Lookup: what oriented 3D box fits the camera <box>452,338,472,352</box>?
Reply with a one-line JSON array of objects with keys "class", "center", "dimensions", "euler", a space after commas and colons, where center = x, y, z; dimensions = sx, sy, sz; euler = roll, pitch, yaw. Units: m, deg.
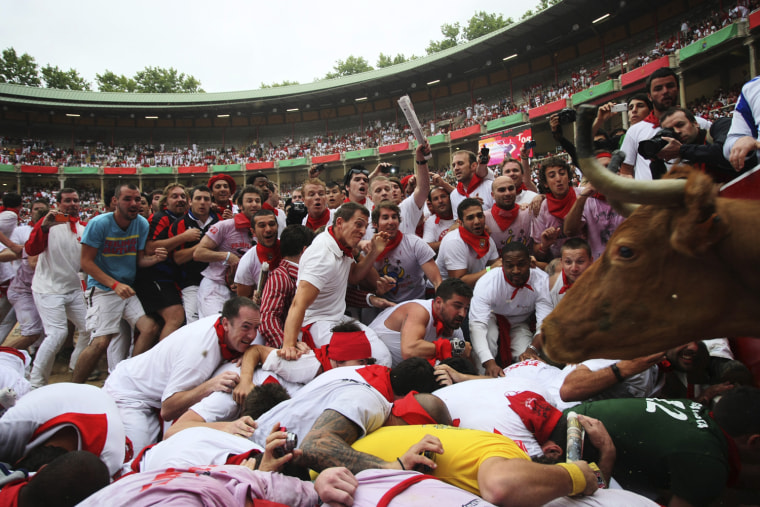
[{"class": "camera", "center": [1.095, 1.273, 8.446], "dimensions": [0.208, 0.093, 0.223], "euler": [-3, -5, 42]}]

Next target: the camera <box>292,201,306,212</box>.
[{"class": "camera", "center": [-1.409, -0.788, 10.674], "dimensions": [0.239, 0.069, 0.242], "euler": [14, 13, -16]}]

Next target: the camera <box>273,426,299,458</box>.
[{"class": "camera", "center": [-0.968, 1.912, 6.349], "dimensions": [0.296, 0.228, 0.186], "euler": [-19, 2, 42]}]

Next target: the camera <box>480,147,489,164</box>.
[{"class": "camera", "center": [1.807, -1.681, 10.657], "dimensions": [0.160, 0.062, 0.267], "euler": [6, -37, 10]}]

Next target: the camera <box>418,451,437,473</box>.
[{"class": "camera", "center": [0.473, 2.068, 6.163], "dimensions": [0.054, 0.192, 0.181], "euler": [6, -4, -44]}]

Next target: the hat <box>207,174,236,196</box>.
[{"class": "hat", "center": [-2.911, -1.242, 11.299], "dimensions": [0.493, 0.265, 0.446], "euler": [-9, 5, -19]}]
